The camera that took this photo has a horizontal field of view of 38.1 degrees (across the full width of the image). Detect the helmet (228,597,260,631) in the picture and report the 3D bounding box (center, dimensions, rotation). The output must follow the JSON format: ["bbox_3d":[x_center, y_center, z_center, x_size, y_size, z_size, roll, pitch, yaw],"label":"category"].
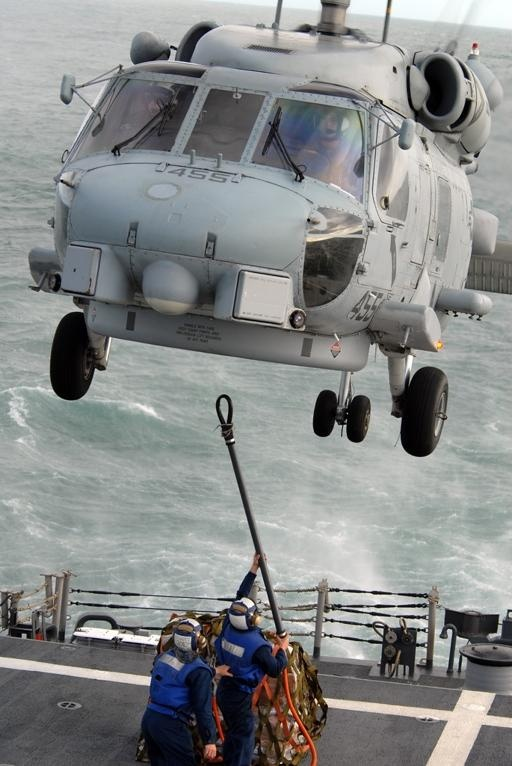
[{"bbox_3d":[-0.092,1.813,5.791,0.245,0.238,0.318,3,-14,-1],"label":"helmet"}]

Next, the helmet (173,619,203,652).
[{"bbox_3d":[-0.473,1.827,5.395,0.197,0.219,0.235,1,-7,7],"label":"helmet"}]
